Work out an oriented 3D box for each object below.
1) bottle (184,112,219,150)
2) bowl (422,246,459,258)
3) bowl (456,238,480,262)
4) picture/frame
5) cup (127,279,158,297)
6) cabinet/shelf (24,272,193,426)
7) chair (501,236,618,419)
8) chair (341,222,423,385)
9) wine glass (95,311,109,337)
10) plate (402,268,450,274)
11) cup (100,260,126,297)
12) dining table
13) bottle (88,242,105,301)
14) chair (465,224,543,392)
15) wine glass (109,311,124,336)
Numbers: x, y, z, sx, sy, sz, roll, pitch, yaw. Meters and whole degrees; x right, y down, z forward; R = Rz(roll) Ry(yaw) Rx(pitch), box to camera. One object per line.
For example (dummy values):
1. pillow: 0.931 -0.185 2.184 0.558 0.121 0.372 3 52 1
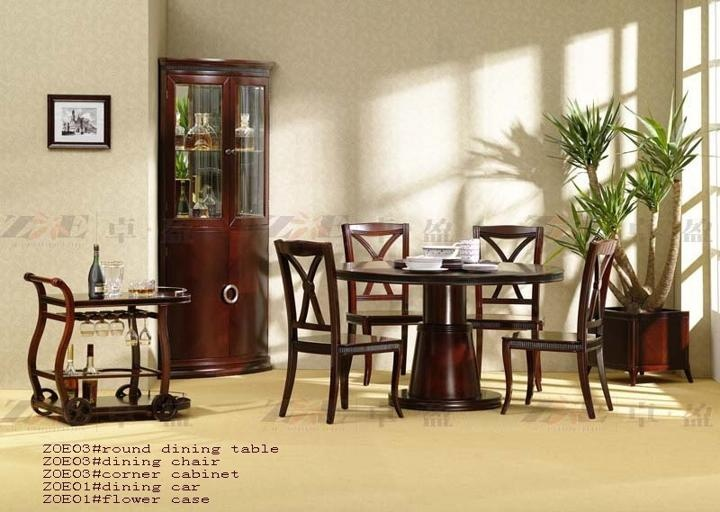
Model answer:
1. bottle: -1.264 -0.977 5.079 0.309 0.278 0.269 -1 4 -23
2. bowl: 0.512 -0.016 4.138 0.280 0.076 0.128 -2 4 -35
3. bowl: 0.722 -0.035 4.284 0.155 0.143 0.156 0 3 0
4. picture/frame: -2.085 -0.992 4.614 0.456 0.371 0.032 0 6 -4
5. cup: -1.398 0.207 4.059 0.128 0.076 0.125 0 -1 0
6. cabinet/shelf: -1.625 0.631 4.216 1.019 0.844 0.654 5 -7 -39
7. chair: 1.355 0.494 4.282 0.749 1.068 0.756 1 -4 -44
8. chair: 0.217 0.363 4.844 0.786 1.207 0.813 0 1 -31
9. wine glass: -1.615 0.438 3.944 0.080 0.160 0.222 -1 4 -22
10. plate: 0.411 0.094 3.906 0.279 0.021 0.233 1 3 2
11. cup: -1.611 0.138 4.093 0.190 0.214 0.186 8 1 0
12. dining table: 0.482 0.579 4.067 1.171 0.668 1.156 1 -2 -44
13. bottle: -1.688 0.098 4.025 0.100 0.336 0.270 -1 4 -22
14. chair: 1.116 0.250 4.877 0.724 1.406 0.758 0 -28 18
15. wine glass: -1.535 0.439 3.970 0.069 0.140 0.204 -1 4 -19
